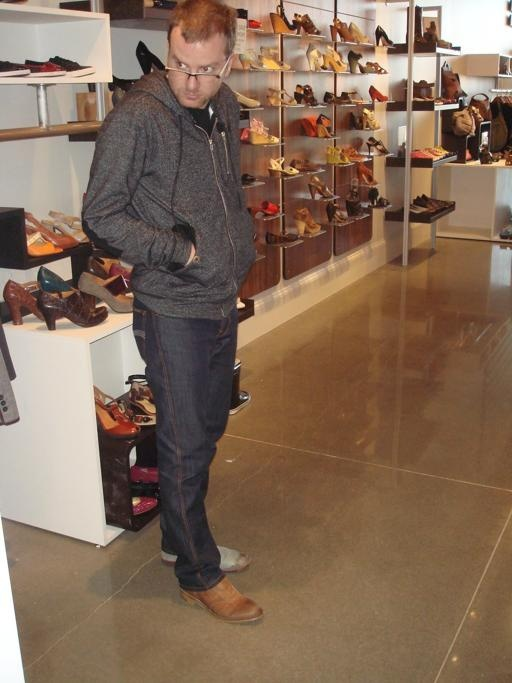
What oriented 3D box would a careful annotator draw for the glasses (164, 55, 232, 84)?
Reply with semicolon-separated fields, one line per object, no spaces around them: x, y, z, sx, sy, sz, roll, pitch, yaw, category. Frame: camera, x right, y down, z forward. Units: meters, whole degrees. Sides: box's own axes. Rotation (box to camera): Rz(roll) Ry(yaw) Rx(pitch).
-0.129;-0.619;1.297;0.153;0.079;0.110;-3;15;-6;glasses

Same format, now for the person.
-0.198;0.074;1.597;0.489;1.553;0.334;-8;17;-23;person

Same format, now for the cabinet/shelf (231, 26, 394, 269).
0.461;-1.605;4.612;0.484;1.920;2.728;10;26;29;cabinet/shelf

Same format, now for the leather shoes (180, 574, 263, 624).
-0.112;0.791;1.785;0.255;0.104;0.111;8;17;26;leather shoes

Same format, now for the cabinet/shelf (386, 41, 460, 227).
1.974;-2.492;6.819;0.653;1.959;2.216;8;25;26;cabinet/shelf
